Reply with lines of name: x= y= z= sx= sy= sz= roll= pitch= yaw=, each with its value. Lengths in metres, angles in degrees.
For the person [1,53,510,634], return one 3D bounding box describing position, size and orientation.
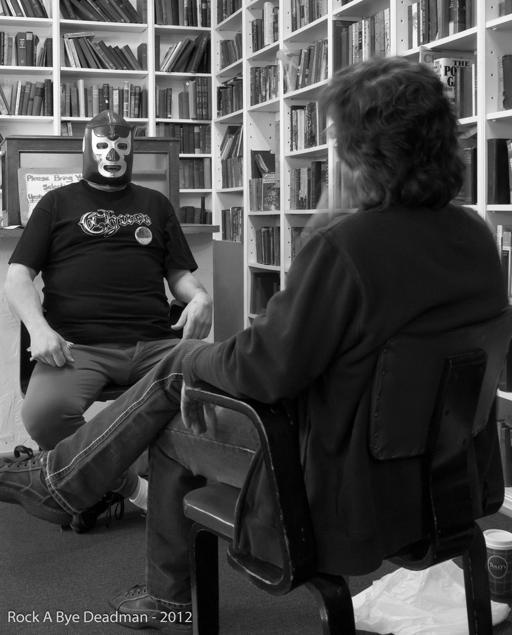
person: x=-0.002 y=0.165 z=1.081 sx=0.791 sy=1.049 sz=0.386 roll=2 pitch=3 yaw=41
